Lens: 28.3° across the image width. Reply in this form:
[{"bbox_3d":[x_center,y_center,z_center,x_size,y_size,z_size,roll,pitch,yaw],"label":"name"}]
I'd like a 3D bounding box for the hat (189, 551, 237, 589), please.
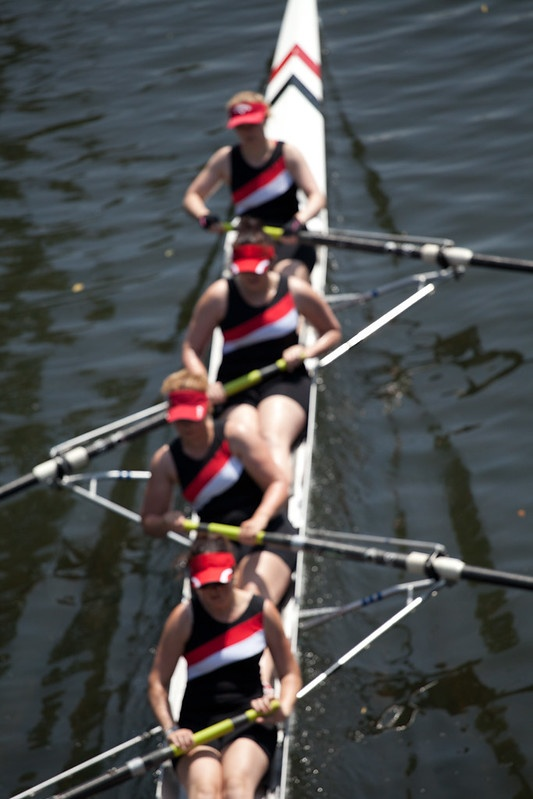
[{"bbox_3d":[-0.244,0.776,4.812,0.205,0.081,0.159,-10,55,0],"label":"hat"}]

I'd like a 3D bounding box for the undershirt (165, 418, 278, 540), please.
[{"bbox_3d":[-0.219,0.450,5.682,0.485,0.361,0.629,-29,78,29],"label":"undershirt"}]

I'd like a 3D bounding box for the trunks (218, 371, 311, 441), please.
[{"bbox_3d":[0.008,-0.020,6.357,0.462,0.468,0.195,-45,100,-17],"label":"trunks"}]

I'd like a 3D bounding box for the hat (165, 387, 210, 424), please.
[{"bbox_3d":[-0.396,0.045,5.366,0.202,0.111,0.198,-4,55,4],"label":"hat"}]

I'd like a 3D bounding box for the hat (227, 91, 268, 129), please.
[{"bbox_3d":[-0.122,-2.032,7.464,0.281,0.219,0.328,-7,55,2],"label":"hat"}]

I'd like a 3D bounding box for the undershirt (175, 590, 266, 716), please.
[{"bbox_3d":[-0.153,1.248,5.020,0.446,0.330,0.602,-7,76,4],"label":"undershirt"}]
